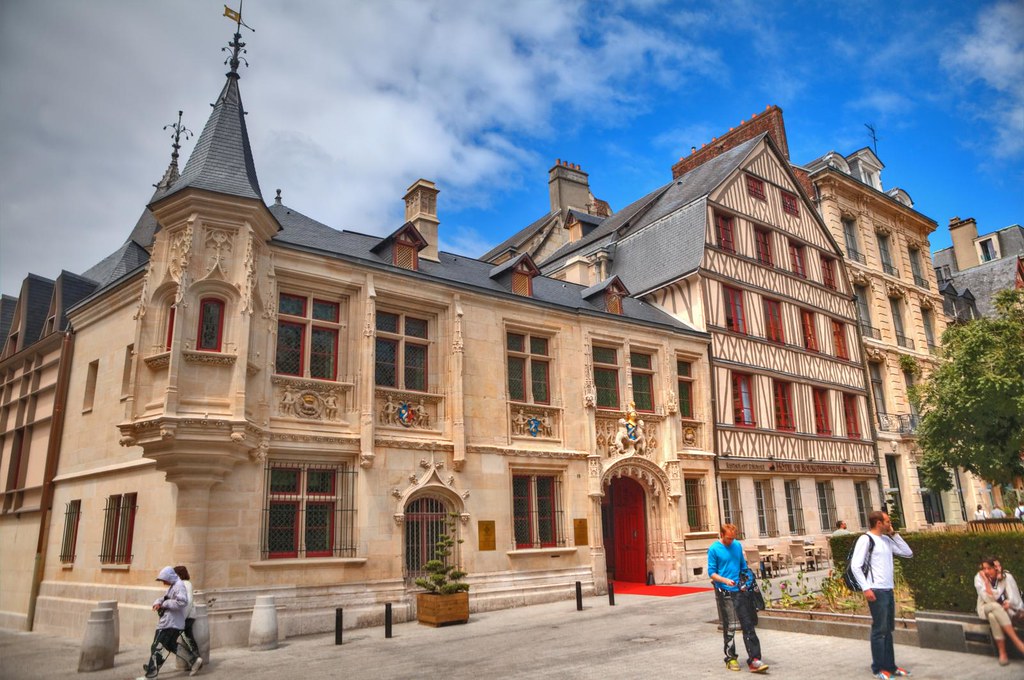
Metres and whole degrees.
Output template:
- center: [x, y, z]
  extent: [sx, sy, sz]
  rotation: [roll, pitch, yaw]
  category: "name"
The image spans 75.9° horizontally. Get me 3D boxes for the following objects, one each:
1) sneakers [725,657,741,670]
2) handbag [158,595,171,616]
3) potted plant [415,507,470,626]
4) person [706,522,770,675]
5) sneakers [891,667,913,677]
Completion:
- center: [4.333, 6.299, 12.862]
  extent: [0.133, 0.162, 0.368]
  rotation: [3, 1, -2]
  category: "sneakers"
- center: [-7.439, 5.691, 13.981]
  extent: [0.309, 0.393, 0.173]
  rotation: [21, 21, 33]
  category: "handbag"
- center: [-2.015, 6.747, 18.666]
  extent: [1.240, 2.365, 1.175]
  rotation: [-17, -21, 36]
  category: "potted plant"
- center: [4.451, 5.066, 13.086]
  extent: [0.918, 2.748, 0.970]
  rotation: [-6, -10, 17]
  category: "person"
- center: [7.119, 6.078, 12.082]
  extent: [0.142, 0.161, 0.423]
  rotation: [11, -18, -43]
  category: "sneakers"
